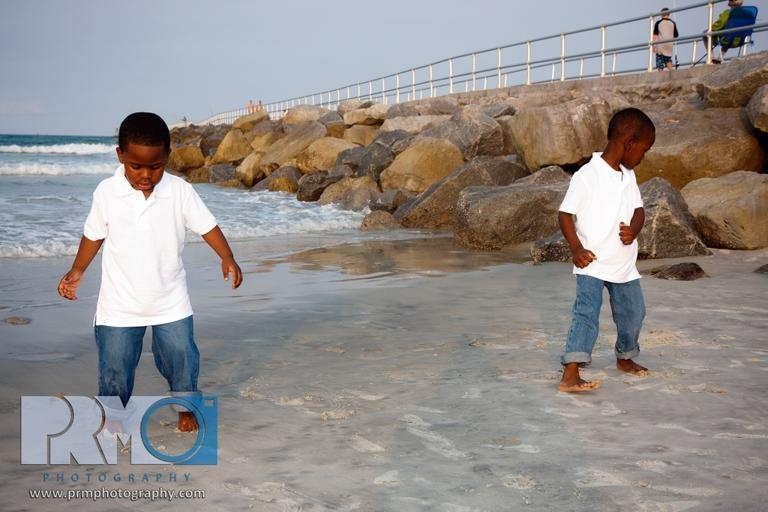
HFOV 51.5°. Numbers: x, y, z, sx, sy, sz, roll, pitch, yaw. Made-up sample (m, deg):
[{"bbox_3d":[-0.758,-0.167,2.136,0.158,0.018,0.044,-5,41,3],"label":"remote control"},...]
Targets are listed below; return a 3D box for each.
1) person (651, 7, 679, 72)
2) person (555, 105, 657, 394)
[{"bbox_3d":[5.686,-4.376,16.179,0.471,1.234,1.162,2,14,17],"label":"person"},{"bbox_3d":[1.582,-0.046,5.714,0.654,1.979,0.766,1,15,13],"label":"person"}]
